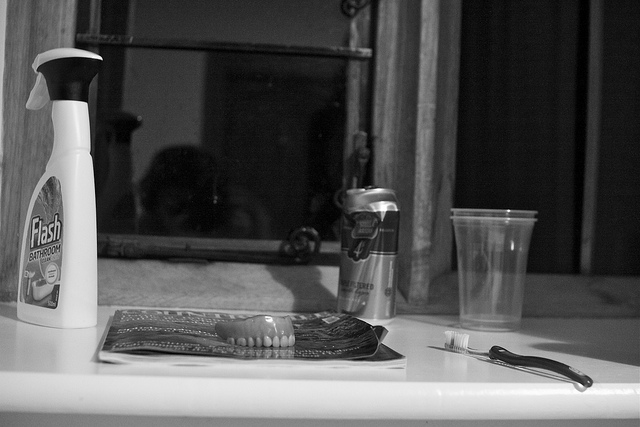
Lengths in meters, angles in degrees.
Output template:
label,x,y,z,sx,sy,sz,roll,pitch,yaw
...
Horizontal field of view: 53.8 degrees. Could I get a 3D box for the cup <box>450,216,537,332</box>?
label,x,y,z,sx,sy,sz,roll,pitch,yaw
cup,0.315,0.102,1.161,0.165,0.213,0.159,2,-1,0

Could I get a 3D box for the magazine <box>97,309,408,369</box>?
label,x,y,z,sx,sy,sz,roll,pitch,yaw
magazine,-0.108,0.187,0.995,0.461,0.043,0.254,3,3,-5

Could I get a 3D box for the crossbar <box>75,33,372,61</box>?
label,x,y,z,sx,sy,sz,roll,pitch,yaw
crossbar,-0.185,-0.324,1.225,0.571,0.031,0.008,3,4,-4

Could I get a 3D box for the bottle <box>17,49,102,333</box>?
label,x,y,z,sx,sy,sz,roll,pitch,yaw
bottle,-0.425,-0.041,1.036,0.141,0.450,0.081,6,5,36

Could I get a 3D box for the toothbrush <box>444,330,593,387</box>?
label,x,y,z,sx,sy,sz,roll,pitch,yaw
toothbrush,0.293,0.210,0.938,0.220,0.035,0.049,6,4,37
